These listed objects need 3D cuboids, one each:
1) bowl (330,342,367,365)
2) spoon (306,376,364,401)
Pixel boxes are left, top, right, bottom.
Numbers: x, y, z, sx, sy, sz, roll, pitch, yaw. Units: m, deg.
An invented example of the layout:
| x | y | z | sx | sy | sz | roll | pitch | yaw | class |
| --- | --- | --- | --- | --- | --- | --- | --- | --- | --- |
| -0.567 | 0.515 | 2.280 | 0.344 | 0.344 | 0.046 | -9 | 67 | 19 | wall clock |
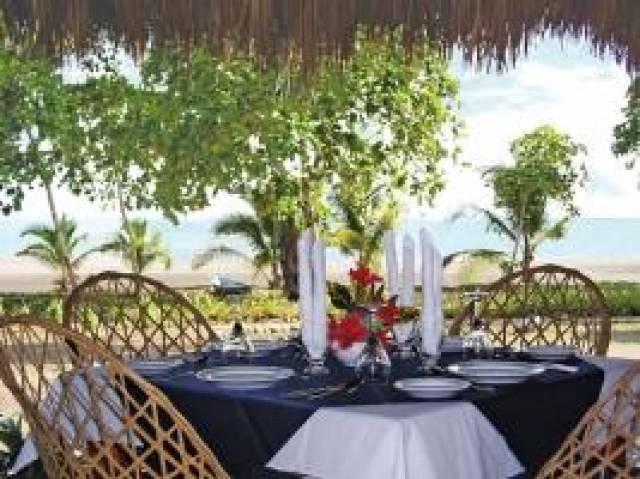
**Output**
| x | y | z | sx | sy | sz | roll | pitch | yaw | class |
| --- | --- | --- | --- | --- | --- | --- | --- | --- | --- |
| 0.143 | 0.593 | 4.047 | 0.123 | 0.104 | 0.130 | -1 | -6 | 0 | bowl |
| 0.081 | 0.690 | 3.613 | 0.090 | 0.078 | 0.348 | -6 | 3 | 42 | spoon |
